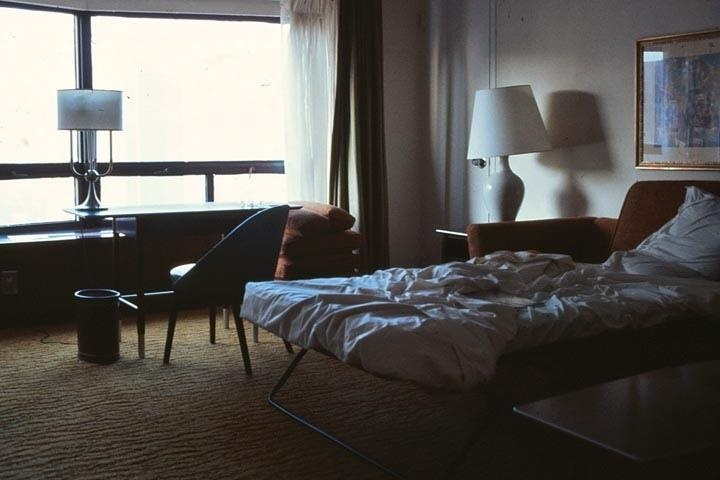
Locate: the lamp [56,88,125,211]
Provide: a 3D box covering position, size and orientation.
[{"bbox_3d":[-1.999,-0.645,4.286,0.536,0.837,0.546,-5,-5,26],"label":"lamp"}]

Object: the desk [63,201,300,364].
[{"bbox_3d":[-1.019,0.306,3.806,1.098,0.979,0.888,2,-12,-18],"label":"desk"}]
